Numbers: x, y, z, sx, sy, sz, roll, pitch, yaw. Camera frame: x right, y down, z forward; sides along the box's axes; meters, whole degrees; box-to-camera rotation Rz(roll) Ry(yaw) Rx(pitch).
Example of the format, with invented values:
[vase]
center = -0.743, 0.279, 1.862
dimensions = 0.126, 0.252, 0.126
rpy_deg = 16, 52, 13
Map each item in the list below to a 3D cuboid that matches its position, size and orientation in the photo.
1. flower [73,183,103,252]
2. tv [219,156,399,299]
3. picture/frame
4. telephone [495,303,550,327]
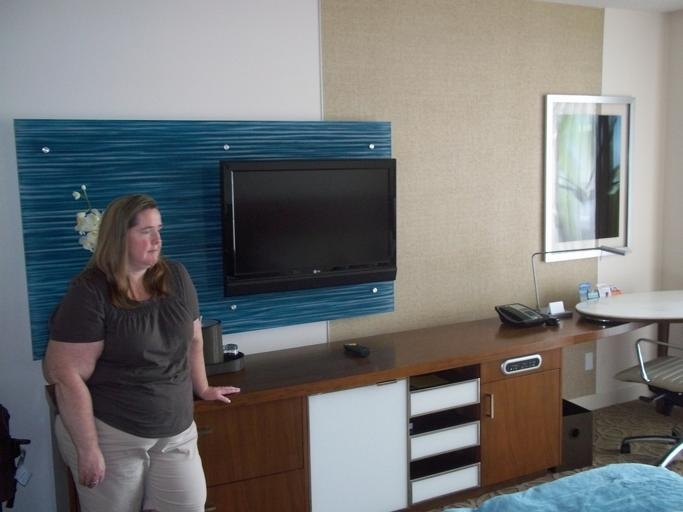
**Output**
[flower]
center = -1.227, -0.182, 2.660
dimensions = 0.186, 0.146, 0.319
rpy_deg = -11, 41, -10
[tv]
center = -0.221, -0.182, 3.096
dimensions = 0.900, 0.569, 0.081
rpy_deg = -4, 7, -24
[picture/frame]
center = 1.803, -0.569, 4.058
dimensions = 0.879, 1.174, 0.115
rpy_deg = -7, 8, -27
[telephone]
center = 1.137, 0.377, 3.569
dimensions = 0.169, 0.059, 0.209
rpy_deg = -7, 11, -27
